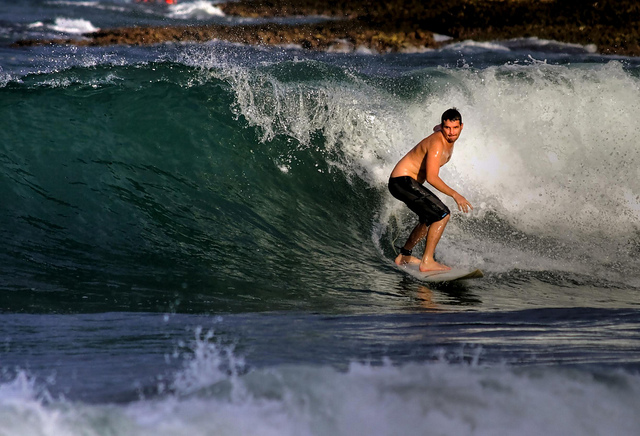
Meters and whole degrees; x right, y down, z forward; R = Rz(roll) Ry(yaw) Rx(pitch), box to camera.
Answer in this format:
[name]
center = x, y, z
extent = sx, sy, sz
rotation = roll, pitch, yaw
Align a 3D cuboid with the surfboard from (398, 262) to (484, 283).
[surfboard]
center = 1.703, 0.787, 11.965
extent = 1.281, 0.163, 0.376
rotation = 5, 14, 33
